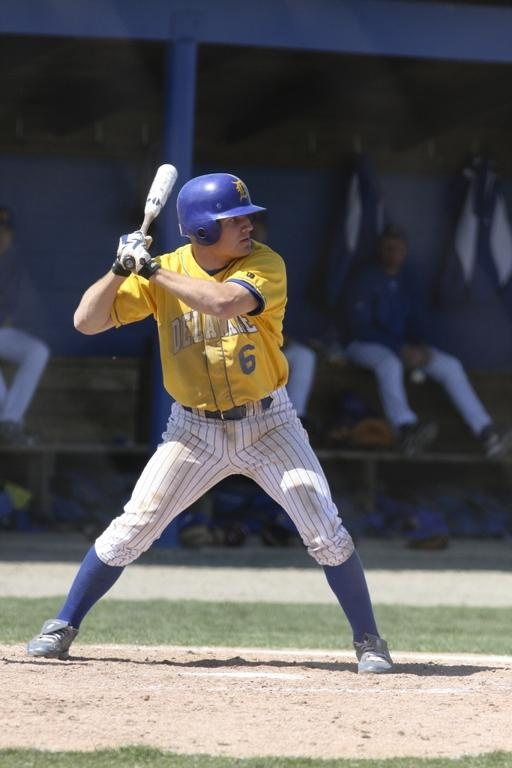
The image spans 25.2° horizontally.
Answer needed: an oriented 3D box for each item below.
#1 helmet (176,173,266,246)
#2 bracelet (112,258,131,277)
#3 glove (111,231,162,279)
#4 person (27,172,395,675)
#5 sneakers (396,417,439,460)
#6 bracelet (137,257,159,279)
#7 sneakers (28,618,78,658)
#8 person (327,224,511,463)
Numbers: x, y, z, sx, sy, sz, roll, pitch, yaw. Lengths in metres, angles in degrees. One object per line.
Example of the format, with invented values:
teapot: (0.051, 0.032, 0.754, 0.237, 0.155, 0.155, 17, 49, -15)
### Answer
helmet: (-0.114, -0.490, 3.268, 0.273, 0.174, 0.195, -1, 6, 20)
bracelet: (-0.377, -0.315, 3.167, 0.057, 0.038, 0.043, -9, 29, -36)
glove: (-0.334, -0.345, 3.172, 0.149, 0.127, 0.063, 19, -25, -39)
person: (-0.104, 0.126, 3.349, 1.007, 1.392, 0.614, 4, 23, 3)
sneakers: (0.787, 0.264, 5.509, 0.122, 0.079, 0.256, 12, -25, -15)
bracelet: (-0.282, -0.302, 3.105, 0.031, 0.059, 0.047, 41, 3, 0)
sneakers: (-0.589, 0.754, 3.404, 0.076, 0.079, 0.197, 28, -2, 12)
person: (0.830, -0.133, 6.700, 0.527, 0.827, 1.283, -21, 49, -13)
